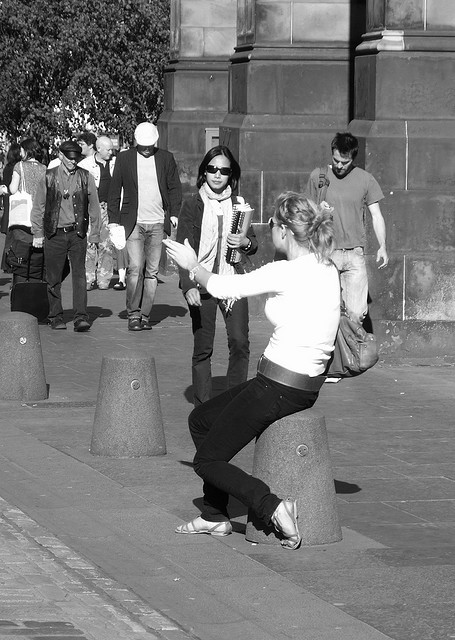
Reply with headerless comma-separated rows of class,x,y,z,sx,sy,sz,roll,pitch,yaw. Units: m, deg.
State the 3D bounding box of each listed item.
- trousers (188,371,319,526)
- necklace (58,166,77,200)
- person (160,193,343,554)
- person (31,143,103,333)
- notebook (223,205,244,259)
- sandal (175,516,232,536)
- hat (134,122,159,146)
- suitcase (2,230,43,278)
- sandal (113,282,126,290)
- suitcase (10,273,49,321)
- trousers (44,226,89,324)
trousers,0.036,0.506,4.856,0.341,0.654,0.662,-3,7,-39
necklace,-1.559,-1.323,11.818,0.106,0.338,0.024,4,-33,-7
person,0.096,0.193,4.831,0.659,1.395,0.428,6,7,39
person,-1.578,-0.814,11.845,0.669,1.794,0.720,1,5,-9
notebook,0.014,-0.457,6.554,0.081,0.322,0.049,16,15,-15
sandal,-0.095,0.845,4.974,0.232,0.086,0.081,6,-2,-2
hat,-0.781,-1.781,11.662,0.211,0.222,0.218,1,5,-4
suitcase,-2.116,-0.698,12.641,0.486,0.611,0.363,4,4,-26
sandal,-1.393,-0.441,15.758,0.075,0.083,0.201,0,-1,19
suitcase,-1.916,-0.223,11.768,0.423,0.550,0.312,-3,18,-29
trousers,-1.579,-0.538,12.035,0.438,1.239,0.320,2,26,-2
